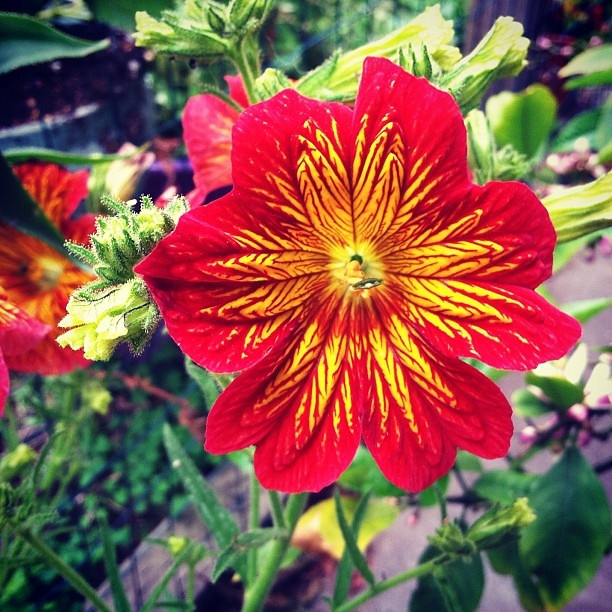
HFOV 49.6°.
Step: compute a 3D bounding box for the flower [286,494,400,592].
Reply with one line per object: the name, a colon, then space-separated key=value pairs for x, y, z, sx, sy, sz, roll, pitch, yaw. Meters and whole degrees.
flower: x=0.061 y=0.364 z=1.042 sx=0.198 sy=0.107 sz=0.055 roll=-12 pitch=-29 yaw=11
